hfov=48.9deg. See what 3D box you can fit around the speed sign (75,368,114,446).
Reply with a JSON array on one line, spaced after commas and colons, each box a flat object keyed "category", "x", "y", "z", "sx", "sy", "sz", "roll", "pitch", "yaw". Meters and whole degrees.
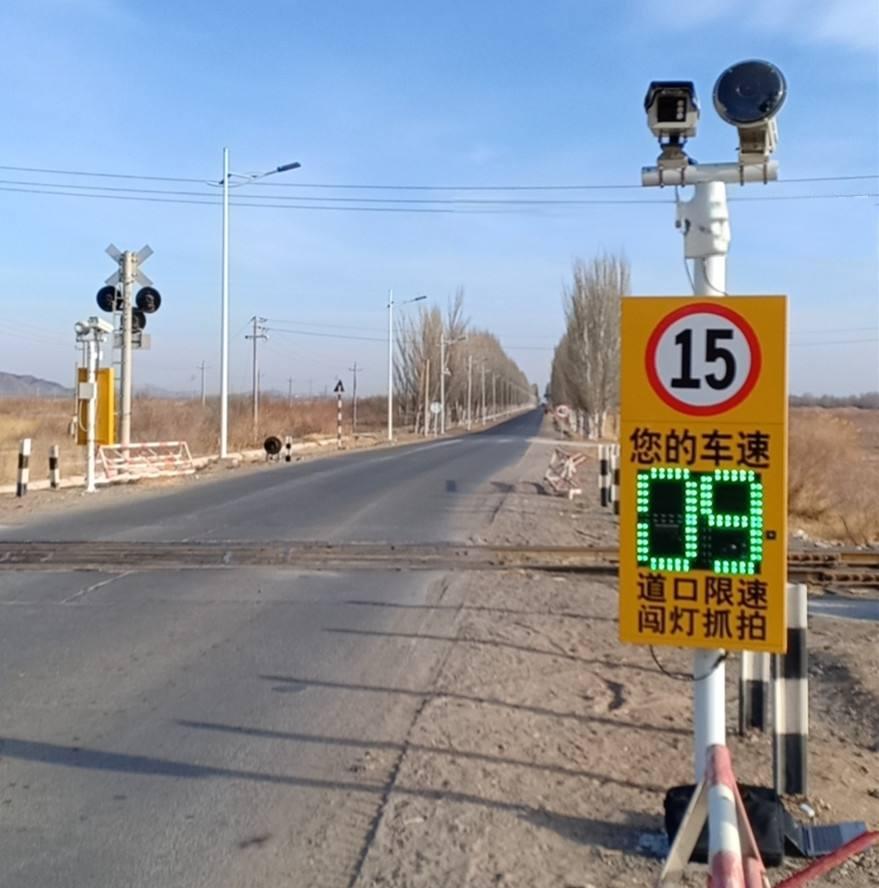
[{"category": "speed sign", "x": -6.383, "y": -0.671, "z": 18.027, "sx": 0.523, "sy": 1.507, "sz": 1.698, "roll": 0, "pitch": 4, "yaw": -8}]
